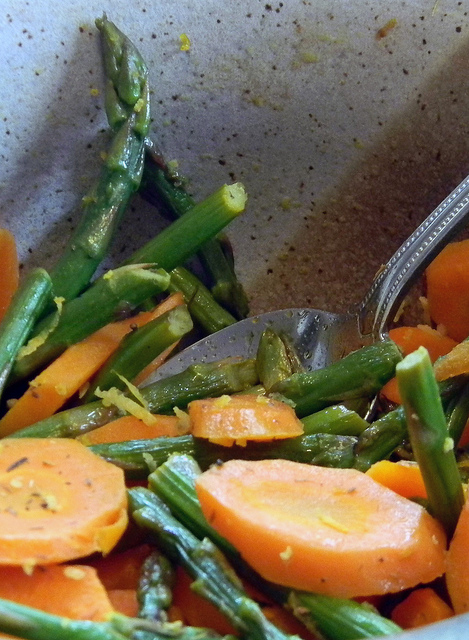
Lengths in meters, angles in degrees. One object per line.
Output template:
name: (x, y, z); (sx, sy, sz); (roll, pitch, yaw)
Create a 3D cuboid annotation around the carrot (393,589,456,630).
carrot: (0.338, 0.545, 1.218); (0.090, 0.032, 0.083); (-27, 21, 13)

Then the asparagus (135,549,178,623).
asparagus: (-0.147, 0.502, 1.234); (0.048, 0.032, 0.122); (2, 39, -4)

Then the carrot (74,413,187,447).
carrot: (-0.253, 0.282, 1.676); (0.226, 0.054, 0.101); (-4, 17, -16)

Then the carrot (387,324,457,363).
carrot: (0.607, 0.076, 2.129); (0.210, 0.051, 0.102); (10, 47, 12)

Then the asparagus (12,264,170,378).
asparagus: (-0.403, -0.029, 1.847); (0.397, 0.325, 0.281); (-9, 21, -20)

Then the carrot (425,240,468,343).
carrot: (0.677, -0.089, 2.071); (0.221, 0.273, 0.164); (-4, 22, -7)

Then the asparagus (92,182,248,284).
asparagus: (-0.094, -0.249, 2.053); (0.424, 0.138, 0.442); (-42, -12, -2)
